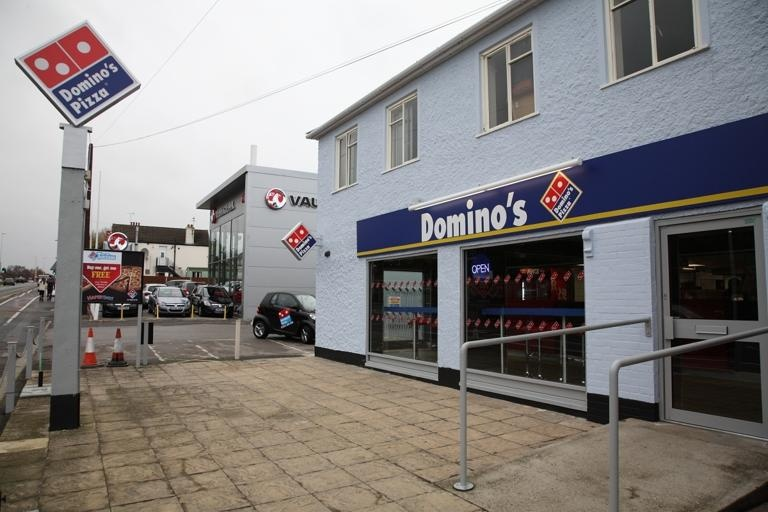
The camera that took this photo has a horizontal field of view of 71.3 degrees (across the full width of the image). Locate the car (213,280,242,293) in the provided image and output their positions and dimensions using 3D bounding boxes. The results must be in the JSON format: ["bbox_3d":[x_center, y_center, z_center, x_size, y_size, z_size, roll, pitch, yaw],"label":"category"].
[{"bbox_3d":[-8.867,1.680,30.820,1.043,0.720,2.155,2,0,-27],"label":"car"}]

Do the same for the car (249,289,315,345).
[{"bbox_3d":[-3.361,2.052,18.280,2.374,1.239,1.462,-7,-12,42],"label":"car"}]

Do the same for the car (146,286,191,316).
[{"bbox_3d":[-11.369,2.339,28.385,1.867,1.454,2.737,4,-5,-22],"label":"car"}]

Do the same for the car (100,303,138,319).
[{"bbox_3d":[-12.205,2.494,24.410,1.268,0.897,2.715,4,-12,-31],"label":"car"}]
